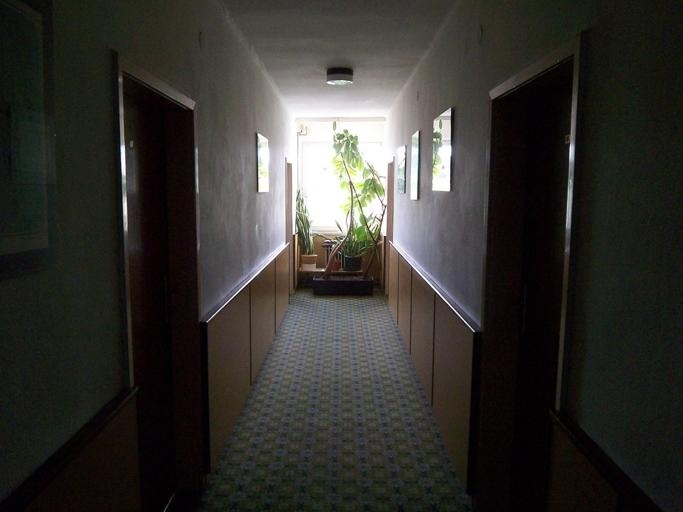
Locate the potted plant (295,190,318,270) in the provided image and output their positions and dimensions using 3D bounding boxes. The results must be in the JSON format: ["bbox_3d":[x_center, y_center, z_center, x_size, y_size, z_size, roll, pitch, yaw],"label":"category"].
[{"bbox_3d":[-0.563,-0.431,7.838,0.292,1.175,0.312,-1,8,-6],"label":"potted plant"}]

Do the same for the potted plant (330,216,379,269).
[{"bbox_3d":[0.215,-0.209,7.533,0.715,0.942,0.679,1,1,13],"label":"potted plant"}]
